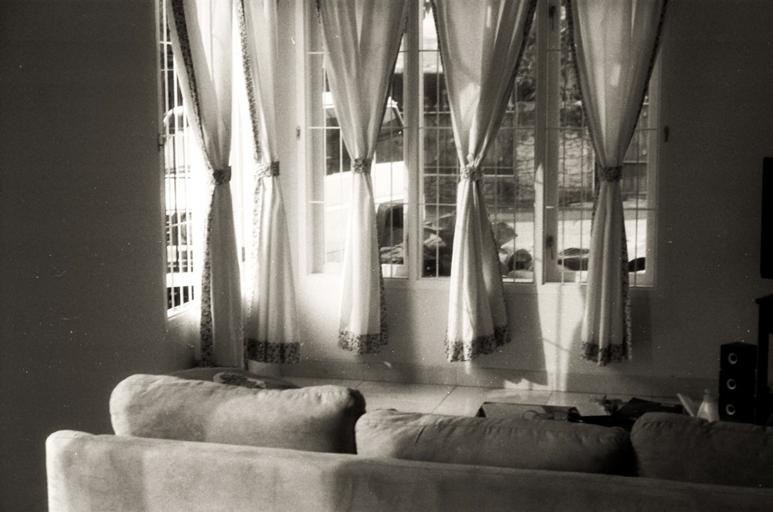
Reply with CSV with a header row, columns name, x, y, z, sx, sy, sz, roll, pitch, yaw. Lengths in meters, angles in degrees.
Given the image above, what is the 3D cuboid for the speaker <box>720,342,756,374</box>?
name,x,y,z,sx,sy,sz,roll,pitch,yaw
speaker,2.103,0.601,4.327,0.168,0.170,0.175,-3,-5,42
